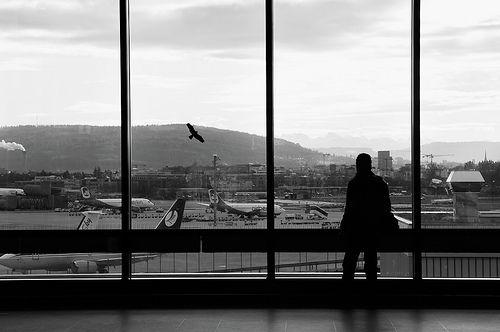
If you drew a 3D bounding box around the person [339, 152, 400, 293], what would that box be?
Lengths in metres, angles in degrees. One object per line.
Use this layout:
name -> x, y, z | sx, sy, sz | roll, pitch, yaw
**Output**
person -> 1.518, 0.734, 10.622 | 0.708, 1.786, 0.275 | 1, -1, 6
